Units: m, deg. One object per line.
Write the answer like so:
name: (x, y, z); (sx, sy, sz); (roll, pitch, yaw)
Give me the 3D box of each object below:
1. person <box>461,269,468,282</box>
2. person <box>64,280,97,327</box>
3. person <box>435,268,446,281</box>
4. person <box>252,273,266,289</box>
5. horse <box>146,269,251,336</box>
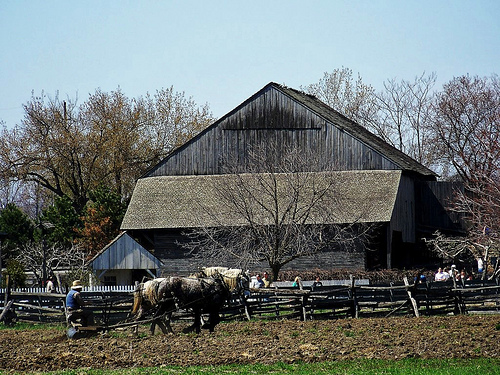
person: (11.505, 4.710, 48.880); (0.303, 0.901, 0.351); (-2, -19, 10)
person: (-7.009, 4.823, 37.205); (0.924, 1.670, 1.167); (-15, 19, -42)
person: (10.014, 4.616, 48.015); (0.536, 0.965, 0.508); (2, 9, 25)
person: (0.431, 4.813, 46.860); (0.572, 0.409, 1.271); (-3, 33, 1)
horse: (-2.183, 4.761, 37.539); (4.165, 3.159, 1.465); (0, -4, -5)
